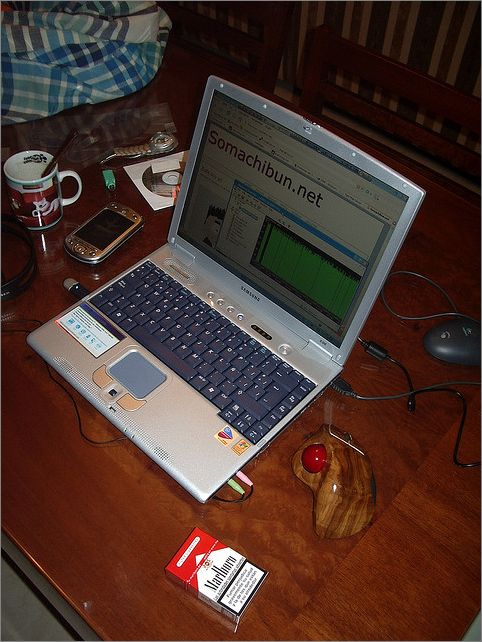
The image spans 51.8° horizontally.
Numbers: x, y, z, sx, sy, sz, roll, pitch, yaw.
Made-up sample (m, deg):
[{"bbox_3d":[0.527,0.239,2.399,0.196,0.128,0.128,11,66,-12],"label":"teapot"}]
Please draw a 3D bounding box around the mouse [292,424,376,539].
[{"bbox_3d":[0.105,0.170,0.542,0.083,0.044,0.119,0,39,-20],"label":"mouse"}]

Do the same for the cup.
[{"bbox_3d":[-0.318,-0.202,0.788,0.117,0.086,0.141,-19,50,-22],"label":"cup"}]

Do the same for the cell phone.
[{"bbox_3d":[-0.214,-0.140,0.781,0.074,0.024,0.123,32,56,21],"label":"cell phone"}]

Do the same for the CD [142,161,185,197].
[{"bbox_3d":[-0.130,-0.252,0.936,0.075,0.057,0.084,-29,49,-32],"label":"CD"}]

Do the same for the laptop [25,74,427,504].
[{"bbox_3d":[0.003,-0.046,0.748,0.491,0.341,0.515,39,62,19],"label":"laptop"}]
